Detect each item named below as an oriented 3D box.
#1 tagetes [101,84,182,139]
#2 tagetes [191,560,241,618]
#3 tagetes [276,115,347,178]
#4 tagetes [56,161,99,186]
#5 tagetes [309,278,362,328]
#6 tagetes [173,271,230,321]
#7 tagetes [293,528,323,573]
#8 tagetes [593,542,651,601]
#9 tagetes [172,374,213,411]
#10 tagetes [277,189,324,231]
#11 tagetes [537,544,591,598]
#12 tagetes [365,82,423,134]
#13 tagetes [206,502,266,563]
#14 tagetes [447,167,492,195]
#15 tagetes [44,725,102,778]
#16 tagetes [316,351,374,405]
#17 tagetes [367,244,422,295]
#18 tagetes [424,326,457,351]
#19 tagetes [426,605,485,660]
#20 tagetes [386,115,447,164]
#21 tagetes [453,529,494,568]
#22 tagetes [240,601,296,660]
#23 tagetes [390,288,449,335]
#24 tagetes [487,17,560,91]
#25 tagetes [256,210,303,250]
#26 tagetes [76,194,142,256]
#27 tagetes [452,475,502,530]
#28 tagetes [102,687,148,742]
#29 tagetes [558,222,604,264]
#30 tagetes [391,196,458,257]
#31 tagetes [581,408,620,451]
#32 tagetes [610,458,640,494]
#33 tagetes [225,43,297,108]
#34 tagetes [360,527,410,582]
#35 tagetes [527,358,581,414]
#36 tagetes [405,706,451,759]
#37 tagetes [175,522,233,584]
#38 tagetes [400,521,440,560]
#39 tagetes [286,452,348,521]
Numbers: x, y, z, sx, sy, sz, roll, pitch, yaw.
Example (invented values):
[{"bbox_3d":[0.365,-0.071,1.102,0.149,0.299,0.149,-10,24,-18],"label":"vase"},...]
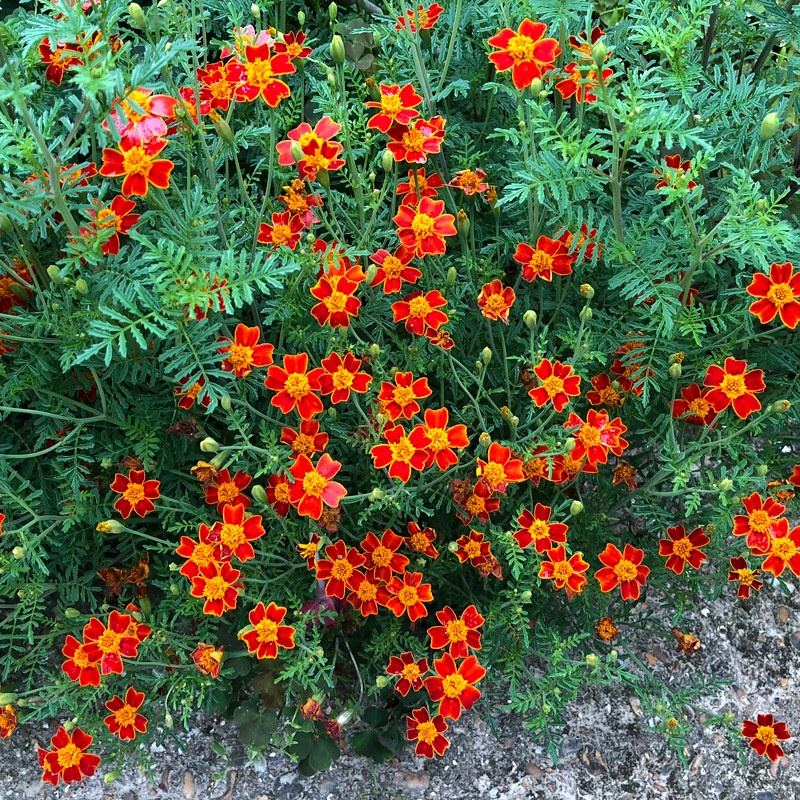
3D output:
[{"bbox_3d":[-0.626,-0.743,1.997,0.178,0.193,0.075,-13,99,-39],"label":"tagetes"},{"bbox_3d":[-0.477,0.476,2.107,0.113,0.050,0.122,12,23,-23],"label":"tagetes"},{"bbox_3d":[-0.231,-0.671,2.188,0.059,0.169,0.170,-35,117,-37],"label":"tagetes"},{"bbox_3d":[-0.817,-0.567,2.038,0.111,0.049,0.112,-16,36,-17],"label":"tagetes"},{"bbox_3d":[-0.172,-0.254,2.183,0.117,0.170,0.112,24,60,11],"label":"tagetes"},{"bbox_3d":[-0.490,-0.235,1.965,0.123,0.077,0.127,17,85,-6],"label":"tagetes"},{"bbox_3d":[-0.233,0.410,2.206,0.048,0.101,0.122,-11,93,-51],"label":"tagetes"},{"bbox_3d":[0.644,0.499,2.359,0.162,0.204,0.163,4,59,-1],"label":"tagetes"},{"bbox_3d":[-0.573,-0.015,2.203,0.109,0.040,0.113,10,42,24],"label":"tagetes"},{"bbox_3d":[-0.283,-0.599,2.423,0.126,0.053,0.126,52,31,-6],"label":"tagetes"},{"bbox_3d":[0.449,0.463,2.203,0.143,0.050,0.143,-33,100,-37],"label":"tagetes"},{"bbox_3d":[-0.020,-0.853,2.331,0.154,0.116,0.182,4,59,-1],"label":"tagetes"},{"bbox_3d":[-0.434,0.371,2.139,0.133,0.180,0.122,14,59,5],"label":"tagetes"},{"bbox_3d":[0.214,-0.675,2.467,0.111,0.086,0.106,16,59,6],"label":"tagetes"},{"bbox_3d":[-0.932,1.006,2.271,0.055,0.149,0.150,-35,85,3],"label":"tagetes"},{"bbox_3d":[-0.150,-0.072,2.145,0.125,0.052,0.137,42,87,-24],"label":"tagetes"},{"bbox_3d":[-0.015,-0.372,2.277,0.131,0.050,0.137,1,65,-13],"label":"tagetes"},{"bbox_3d":[0.121,-0.174,2.341,0.071,0.035,0.075,43,24,30],"label":"tagetes"},{"bbox_3d":[0.157,0.656,2.244,0.152,0.164,0.142,15,59,6],"label":"tagetes"},{"bbox_3d":[0.051,-0.774,2.319,0.140,0.055,0.154,11,55,10],"label":"tagetes"},{"bbox_3d":[0.215,0.416,2.325,0.100,0.042,0.109,9,100,5],"label":"tagetes"},{"bbox_3d":[-0.352,0.614,2.120,0.130,0.107,0.132,-26,64,-18],"label":"tagetes"},{"bbox_3d":[0.057,-0.247,2.214,0.136,0.050,0.133,-9,81,4],"label":"tagetes"},{"bbox_3d":[0.321,-0.883,2.083,0.169,0.070,0.174,4,97,6],"label":"tagetes"},{"bbox_3d":[-0.356,-0.506,2.396,0.128,0.072,0.133,3,59,-2],"label":"tagetes"},{"bbox_3d":[-0.761,-0.451,2.062,0.162,0.064,0.145,15,22,-1],"label":"tagetes"},{"bbox_3d":[0.216,0.291,2.253,0.130,0.052,0.132,-36,95,20],"label":"tagetes"},{"bbox_3d":[-0.767,0.886,2.244,0.136,0.053,0.128,34,20,23],"label":"tagetes"},{"bbox_3d":[0.513,-0.427,2.300,0.118,0.055,0.119,38,41,24],"label":"tagetes"},{"bbox_3d":[0.069,-0.472,2.171,0.159,0.116,0.114,23,60,10],"label":"tagetes"},{"bbox_3d":[0.553,0.090,2.185,0.100,0.042,0.109,-27,86,-24],"label":"tagetes"},{"bbox_3d":[0.721,0.248,2.531,0.040,0.092,0.087,-44,43,-1],"label":"tagetes"},{"bbox_3d":[-0.386,-0.896,2.159,0.191,0.217,0.069,-9,93,-1],"label":"tagetes"},{"bbox_3d":[-0.056,0.445,2.233,0.141,0.053,0.167,-2,39,-21],"label":"tagetes"},{"bbox_3d":[0.433,-0.043,2.253,0.159,0.060,0.166,-3,92,11],"label":"tagetes"},{"bbox_3d":[0.076,0.964,2.335,0.137,0.049,0.137,8,96,9],"label":"tagetes"},{"bbox_3d":[-0.519,0.397,2.110,0.136,0.061,0.154,-10,83,15],"label":"tagetes"},{"bbox_3d":[0.058,0.408,2.364,0.113,0.048,0.115,35,91,-4],"label":"tagetes"},{"bbox_3d":[-0.216,0.222,2.032,0.134,0.195,0.160,-11,60,-10],"label":"tagetes"}]
